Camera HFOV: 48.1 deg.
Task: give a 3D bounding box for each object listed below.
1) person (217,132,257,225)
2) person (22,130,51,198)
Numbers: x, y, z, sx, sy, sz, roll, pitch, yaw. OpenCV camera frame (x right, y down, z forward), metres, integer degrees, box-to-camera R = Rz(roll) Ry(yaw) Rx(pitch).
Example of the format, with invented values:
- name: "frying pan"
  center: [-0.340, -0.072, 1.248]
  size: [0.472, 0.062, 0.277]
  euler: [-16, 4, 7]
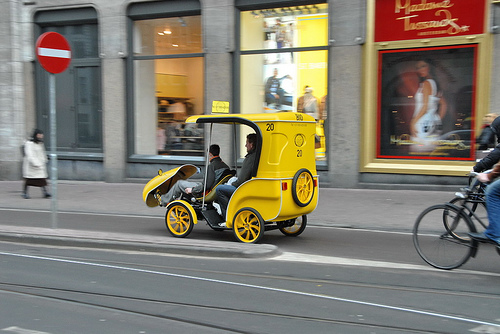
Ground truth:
- name: "person"
  center: [-0.244, 0.211, 11.007]
  size: [0.781, 1.860, 0.602]
  euler: [-1, 14, -3]
- name: "person"
  center: [-6.213, -0.103, 16.167]
  size: [0.765, 1.903, 0.513]
  euler: [-9, 17, -32]
